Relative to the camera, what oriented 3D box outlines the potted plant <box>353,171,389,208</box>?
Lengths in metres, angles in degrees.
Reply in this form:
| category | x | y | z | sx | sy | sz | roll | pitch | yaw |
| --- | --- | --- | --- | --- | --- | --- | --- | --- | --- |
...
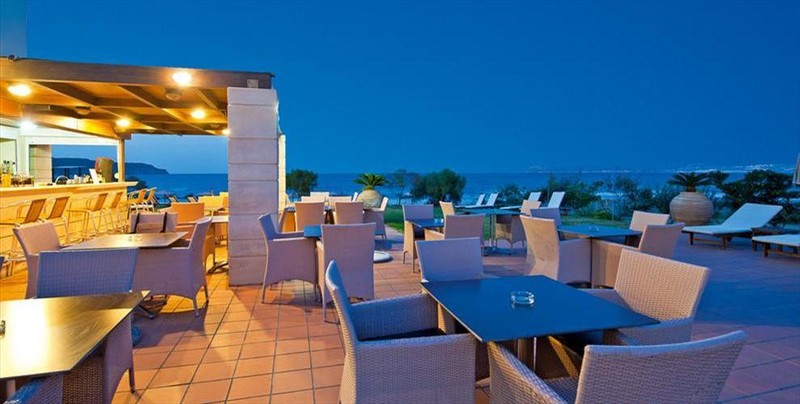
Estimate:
| category | x | y | z | sx | sy | sz | roll | pitch | yaw |
| --- | --- | --- | --- | --- | --- | --- | --- | --- | --- |
| potted plant | -1.394 | -0.568 | 24.762 | 1.965 | 1.612 | 1.765 | 0 | -4 | -2 |

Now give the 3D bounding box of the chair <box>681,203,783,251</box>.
| category | x | y | z | sx | sy | sz | roll | pitch | yaw |
| --- | --- | --- | --- | --- | --- | --- | --- | --- | --- |
| chair | 12.830 | 0.929 | 19.504 | 3.257 | 1.268 | 1.619 | -5 | 9 | -13 |
